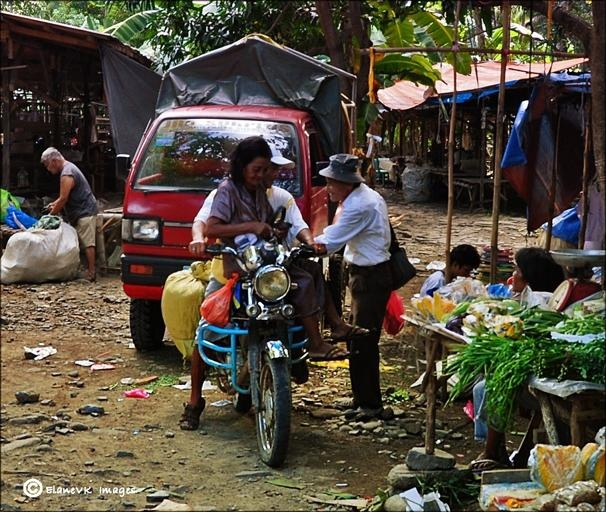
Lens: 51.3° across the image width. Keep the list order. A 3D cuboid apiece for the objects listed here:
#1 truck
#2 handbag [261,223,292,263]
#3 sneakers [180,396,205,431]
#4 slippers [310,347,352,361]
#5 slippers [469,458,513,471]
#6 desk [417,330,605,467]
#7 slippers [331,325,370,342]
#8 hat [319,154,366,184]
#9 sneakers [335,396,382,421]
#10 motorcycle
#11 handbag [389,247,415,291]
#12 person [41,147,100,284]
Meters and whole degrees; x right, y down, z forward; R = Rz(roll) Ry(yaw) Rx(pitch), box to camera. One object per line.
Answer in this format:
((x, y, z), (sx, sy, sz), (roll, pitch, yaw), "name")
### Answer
((-0.578, -0.634, 7.546), (2.087, 2.079, 2.955), (1, 2, 9), "truck")
((-0.155, -0.079, 4.251), (0.158, 0.170, 0.297), (16, 0, 1), "handbag")
((-0.829, 1.193, 4.812), (0.129, 0.107, 0.289), (5, 19, 7), "sneakers")
((0.180, 0.659, 4.282), (0.247, 0.058, 0.108), (-4, 1, 20), "slippers")
((1.151, 1.280, 3.901), (0.238, 0.053, 0.090), (1, -1, 0), "slippers")
((1.169, 0.741, 3.632), (0.965, 0.709, 0.879), (-1, -4, -5), "desk")
((0.322, 0.536, 4.399), (0.282, 0.065, 0.110), (-11, -3, 32), "slippers")
((0.318, -0.709, 4.894), (0.298, 0.138, 0.256), (24, -9, -28), "hat")
((0.460, 1.272, 5.226), (0.413, 0.147, 0.125), (-2, 7, 2), "sneakers")
((-0.335, 0.620, 4.359), (0.895, 1.520, 0.503), (7, 9, 31), "motorcycle")
((0.823, 0.106, 5.205), (0.205, 0.371, 0.351), (4, 8, 10), "handbag")
((-3.735, -0.706, 10.166), (0.819, 2.044, 1.200), (0, 8, -18), "person")
